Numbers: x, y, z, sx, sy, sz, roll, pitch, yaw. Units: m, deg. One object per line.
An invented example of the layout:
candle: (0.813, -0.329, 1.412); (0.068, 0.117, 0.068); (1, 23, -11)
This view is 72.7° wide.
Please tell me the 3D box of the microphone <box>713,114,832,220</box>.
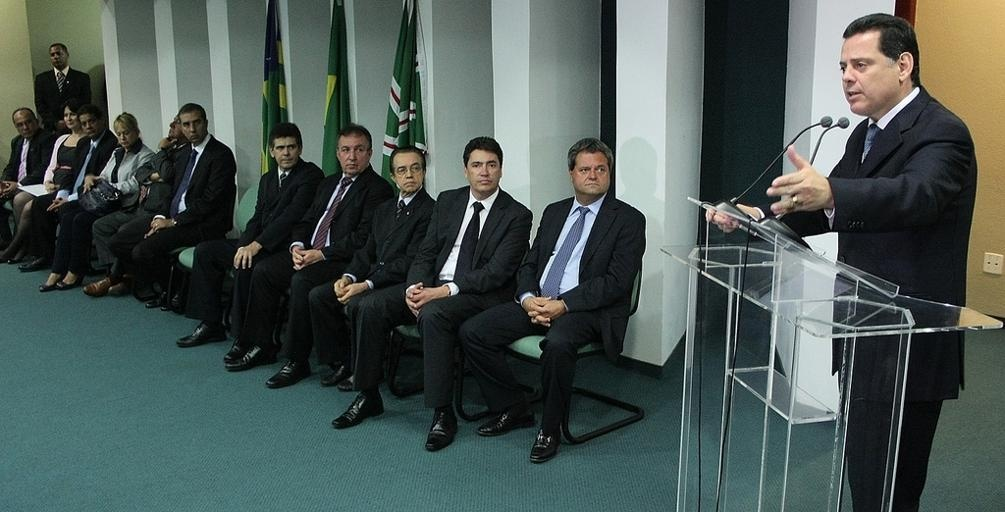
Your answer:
microphone: (2.177, -0.728, 5.416); (1.467, 0.200, 0.220); (-40, 29, -2)

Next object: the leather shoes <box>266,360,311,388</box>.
leather shoes: (-1.901, 1.044, 6.057); (0.452, 0.159, 0.161); (-9, 14, -42)

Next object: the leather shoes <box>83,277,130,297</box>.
leather shoes: (-4.569, 0.353, 7.815); (0.199, 0.219, 0.567); (7, 3, 45)

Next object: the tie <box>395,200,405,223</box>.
tie: (-0.913, -0.405, 6.143); (0.104, 0.160, 0.045); (8, -4, 36)

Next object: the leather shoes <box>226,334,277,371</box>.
leather shoes: (-2.334, 0.907, 6.291); (0.450, 0.171, 0.221); (-3, 6, -29)

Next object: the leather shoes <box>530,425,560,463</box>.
leather shoes: (0.330, 1.452, 5.248); (0.151, 0.125, 0.324); (1, 4, 23)

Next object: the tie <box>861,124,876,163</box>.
tie: (2.379, -0.731, 4.386); (0.044, 0.281, 0.072); (30, -22, -25)

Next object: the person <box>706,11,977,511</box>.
person: (2.353, 0.061, 4.331); (1.188, 3.076, 0.871); (-11, 15, -30)

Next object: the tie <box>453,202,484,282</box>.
tie: (-0.254, -0.111, 5.895); (0.190, 0.773, 0.079); (14, -8, 17)

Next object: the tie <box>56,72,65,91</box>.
tie: (-6.580, -2.598, 10.133); (0.110, 0.214, 0.067); (-11, 15, -28)

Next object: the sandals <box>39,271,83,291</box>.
sandals: (-5.198, 0.305, 7.983); (0.180, 0.192, 0.496); (2, 0, 31)

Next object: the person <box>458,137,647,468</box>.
person: (0.424, 0.289, 5.512); (0.901, 2.362, 1.347); (8, 18, 43)

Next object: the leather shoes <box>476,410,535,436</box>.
leather shoes: (0.042, 1.334, 5.597); (0.510, 0.202, 0.174); (-5, 14, -17)

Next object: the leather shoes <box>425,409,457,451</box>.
leather shoes: (-0.488, 1.335, 5.423); (0.157, 0.252, 0.422); (1, 16, 20)

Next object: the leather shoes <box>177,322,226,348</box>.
leather shoes: (-2.938, 0.771, 6.785); (0.551, 0.209, 0.186); (-3, 7, -27)

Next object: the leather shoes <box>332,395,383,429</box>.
leather shoes: (-1.212, 1.234, 5.659); (0.172, 0.222, 0.541); (5, 12, 37)
